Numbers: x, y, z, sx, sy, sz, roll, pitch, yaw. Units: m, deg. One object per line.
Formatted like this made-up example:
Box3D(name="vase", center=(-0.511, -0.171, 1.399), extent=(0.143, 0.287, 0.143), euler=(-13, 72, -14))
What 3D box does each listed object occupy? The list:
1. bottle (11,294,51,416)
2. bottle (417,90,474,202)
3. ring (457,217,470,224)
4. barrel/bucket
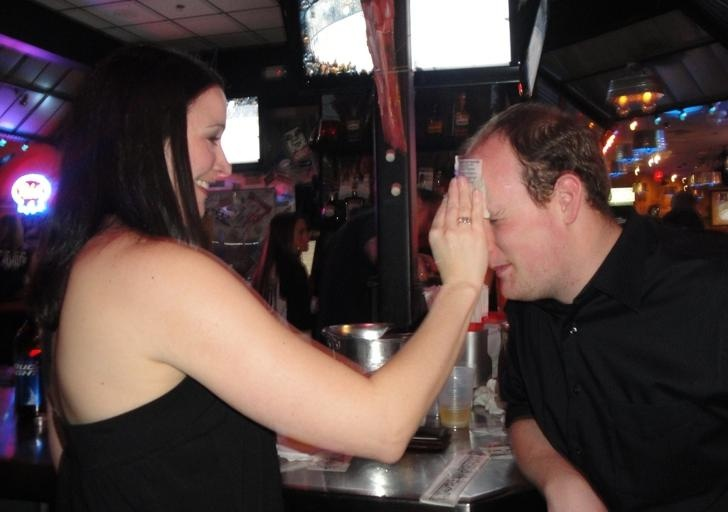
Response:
Box3D(name="bottle", center=(-1.327, 0.428, 2.274), extent=(0.123, 0.468, 0.120), euler=(-2, -9, 0))
Box3D(name="bottle", center=(0.561, -0.824, 4.029), extent=(0.313, 0.605, 0.151), euler=(6, 26, 24))
Box3D(name="ring", center=(0.288, -0.103, 1.640), extent=(0.024, 0.024, 0.006), euler=(-3, 5, -3))
Box3D(name="barrel/bucket", center=(-0.030, 0.423, 2.407), extent=(0.254, 0.263, 0.240), euler=(3, 3, 0))
